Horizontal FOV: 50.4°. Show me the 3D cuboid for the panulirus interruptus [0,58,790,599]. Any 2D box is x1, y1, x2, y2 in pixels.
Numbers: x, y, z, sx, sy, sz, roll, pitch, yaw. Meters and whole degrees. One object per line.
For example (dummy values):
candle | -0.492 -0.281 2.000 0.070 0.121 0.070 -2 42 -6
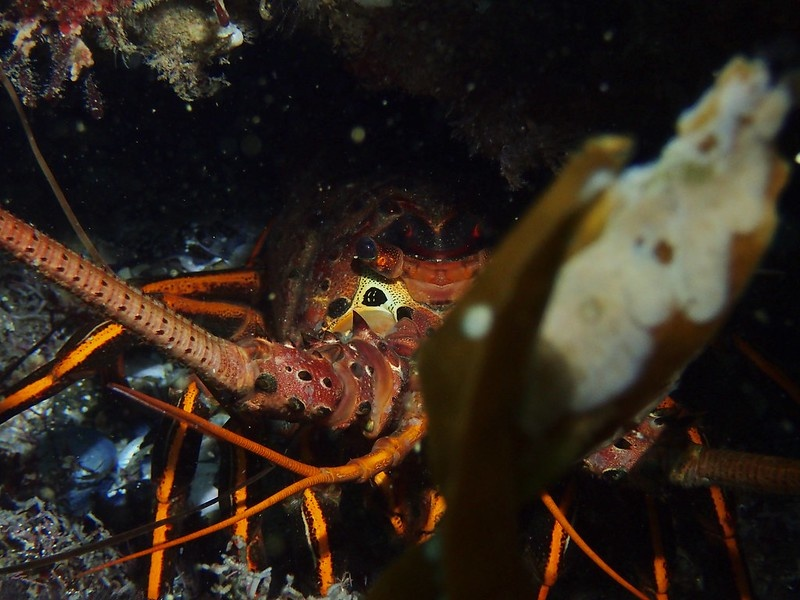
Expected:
panulirus interruptus | 0.385 0.144 3.554 2.587 1.459 2.085 17 -19 14
